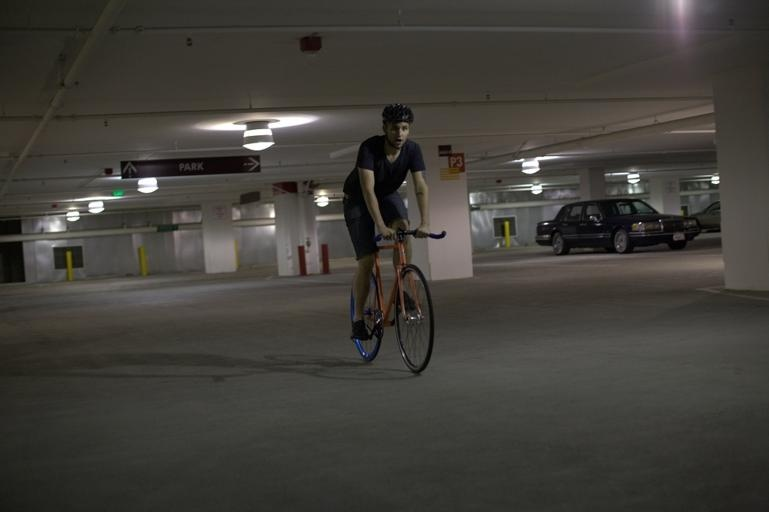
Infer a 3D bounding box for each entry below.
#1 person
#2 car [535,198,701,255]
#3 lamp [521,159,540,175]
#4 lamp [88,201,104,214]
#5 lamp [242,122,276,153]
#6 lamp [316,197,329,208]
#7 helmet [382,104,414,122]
[{"bbox_3d":[0.016,-0.378,6.302,0.859,2.503,1.190,-3,0,-4],"label":"person"},{"bbox_3d":[9.190,-1.166,24.692,2.518,1.794,5.650,0,-4,-23],"label":"car"},{"bbox_3d":[6.124,-3.804,24.989,0.588,0.558,1.708,-3,1,18],"label":"lamp"},{"bbox_3d":[-15.523,-2.761,32.111,0.644,0.645,1.237,-4,1,-31],"label":"lamp"},{"bbox_3d":[-3.045,-2.882,14.456,0.694,0.749,0.711,-3,-2,-18],"label":"lamp"},{"bbox_3d":[-3.963,-3.577,37.805,0.733,0.633,0.909,-3,1,-9],"label":"lamp"},{"bbox_3d":[0.113,-1.470,6.024,0.213,0.153,0.260,-1,5,-13],"label":"helmet"}]
